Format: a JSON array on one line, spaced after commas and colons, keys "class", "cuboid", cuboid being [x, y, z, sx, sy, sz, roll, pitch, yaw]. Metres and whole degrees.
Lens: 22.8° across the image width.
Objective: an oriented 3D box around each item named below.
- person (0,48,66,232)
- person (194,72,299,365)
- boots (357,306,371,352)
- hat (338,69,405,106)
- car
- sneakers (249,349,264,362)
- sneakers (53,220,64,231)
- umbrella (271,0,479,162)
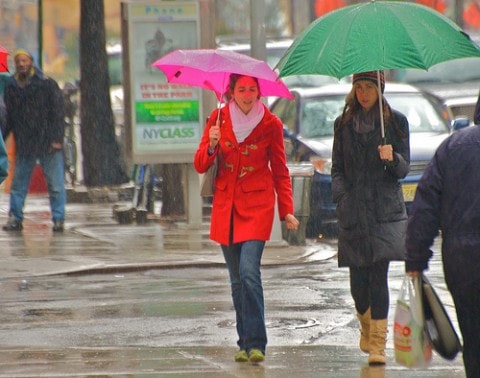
[{"class": "person", "cuboid": [-2.825, -0.654, 16.550, 0.850, 2.489, 0.310, -1, 8, -12]}, {"class": "person", "cuboid": [0.051, 0.224, 10.610, 0.811, 2.452, 0.746, 5, 9, 34]}, {"class": "boots", "cuboid": [1.113, 1.271, 10.712, 0.141, 0.338, 0.360, -1, 10, 12]}, {"class": "hat", "cuboid": [1.137, -0.914, 10.709, 0.251, 0.275, 0.345, 5, 1, -16]}, {"class": "car", "cuboid": [1.683, -0.689, 17.470, 1.749, 1.500, 3.001, -2, -2, -8]}, {"class": "sneakers", "cuboid": [0.147, 1.435, 10.280, 0.100, 0.087, 0.211, -1, -1, 1]}, {"class": "sneakers", "cuboid": [-2.506, 0.517, 16.756, 0.137, 0.140, 0.250, 5, 3, 1]}, {"class": "umbrella", "cuboid": [1.193, -0.911, 10.304, 1.212, 1.032, 1.250, -5, 12, 26]}]
